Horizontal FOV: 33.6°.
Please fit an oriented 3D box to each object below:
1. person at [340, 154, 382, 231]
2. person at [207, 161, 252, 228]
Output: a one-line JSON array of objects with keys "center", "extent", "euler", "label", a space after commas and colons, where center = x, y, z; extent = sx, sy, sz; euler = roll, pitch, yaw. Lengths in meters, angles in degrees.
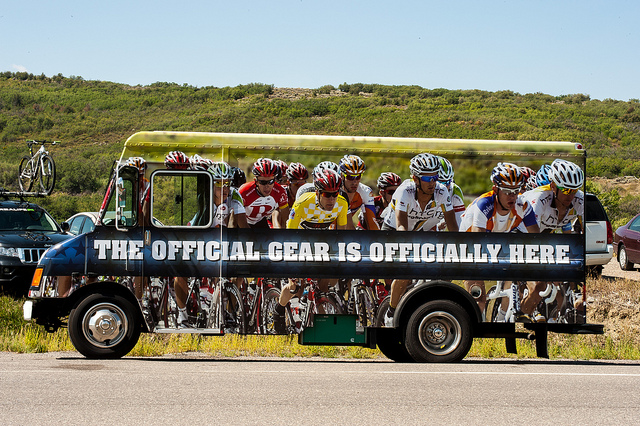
[{"center": [1.020, -0.556, 27.312], "extent": [0.786, 2.294, 0.939], "euler": [1, -1, -14], "label": "person"}, {"center": [-2.347, -0.520, 27.257], "extent": [1.295, 2.137, 0.760], "euler": [-3, -2, -11], "label": "person"}]
